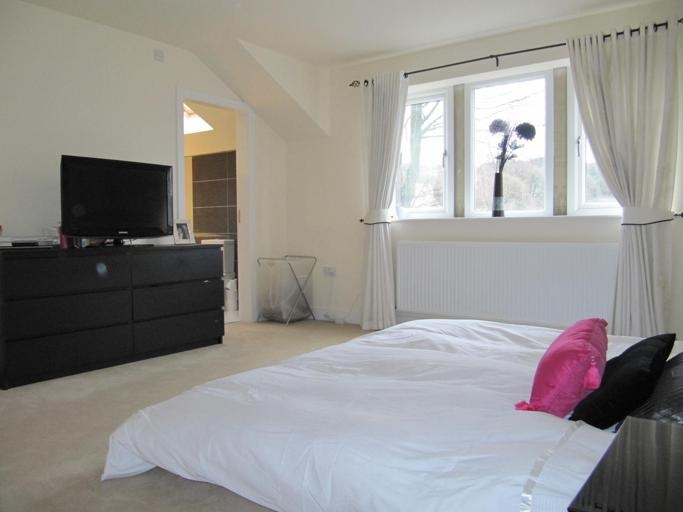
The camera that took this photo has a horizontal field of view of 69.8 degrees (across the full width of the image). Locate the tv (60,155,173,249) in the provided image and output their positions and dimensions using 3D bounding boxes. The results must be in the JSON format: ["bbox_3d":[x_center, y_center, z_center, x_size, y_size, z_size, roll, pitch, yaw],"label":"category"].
[{"bbox_3d":[-1.886,-0.434,4.044,0.130,0.611,0.795,2,2,41],"label":"tv"}]

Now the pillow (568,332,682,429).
[{"bbox_3d":[1.076,0.482,1.890,0.256,0.251,0.596,5,7,40],"label":"pillow"}]

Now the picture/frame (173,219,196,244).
[{"bbox_3d":[-1.508,-0.214,4.756,0.180,0.262,0.253,-8,1,8],"label":"picture/frame"}]

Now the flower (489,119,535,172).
[{"bbox_3d":[1.631,-1.045,4.665,0.407,0.463,0.247,19,9,40],"label":"flower"}]

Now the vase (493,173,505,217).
[{"bbox_3d":[1.493,-0.579,4.672,0.099,0.424,0.110,1,6,11],"label":"vase"}]
